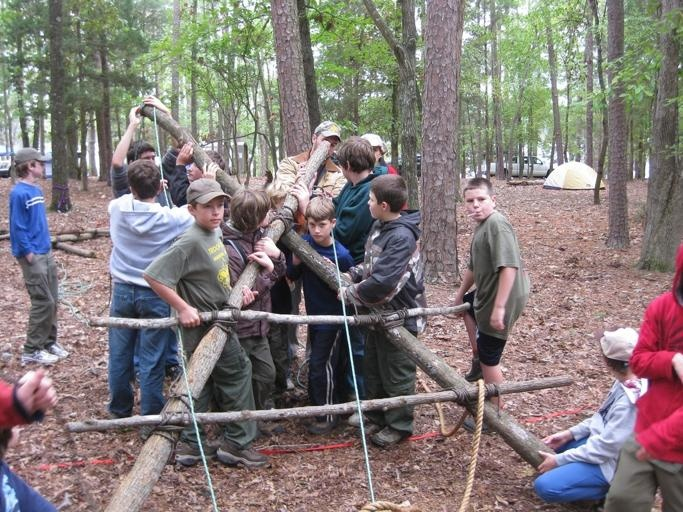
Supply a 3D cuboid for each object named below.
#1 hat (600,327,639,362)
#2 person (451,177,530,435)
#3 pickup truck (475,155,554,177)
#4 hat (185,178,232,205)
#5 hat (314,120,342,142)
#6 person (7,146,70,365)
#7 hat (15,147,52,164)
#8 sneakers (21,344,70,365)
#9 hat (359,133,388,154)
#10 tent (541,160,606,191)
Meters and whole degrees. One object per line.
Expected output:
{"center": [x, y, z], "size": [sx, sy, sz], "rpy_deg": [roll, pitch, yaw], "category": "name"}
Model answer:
{"center": [2.247, 0.722, 5.260], "size": [0.211, 0.148, 0.299], "rpy_deg": [-2, 1, 6], "category": "hat"}
{"center": [1.411, 0.258, 6.190], "size": [0.567, 1.970, 0.486], "rpy_deg": [7, 10, 40], "category": "person"}
{"center": [8.536, -4.388, 31.765], "size": [2.783, 1.107, 10.740], "rpy_deg": [3, 8, 15], "category": "pickup truck"}
{"center": [-1.176, -0.564, 5.725], "size": [0.278, 0.137, 0.217], "rpy_deg": [-3, 7, 25], "category": "hat"}
{"center": [-0.157, -1.394, 7.246], "size": [0.203, 0.153, 0.291], "rpy_deg": [8, 2, -19], "category": "hat"}
{"center": [-3.320, -0.003, 7.177], "size": [0.522, 2.342, 0.520], "rpy_deg": [-3, 8, -27], "category": "person"}
{"center": [-3.399, -1.091, 7.192], "size": [0.212, 0.132, 0.334], "rpy_deg": [8, 7, 43], "category": "hat"}
{"center": [-3.257, 1.107, 7.190], "size": [0.318, 0.110, 0.252], "rpy_deg": [-1, 9, -3], "category": "sneakers"}
{"center": [0.386, -1.286, 7.282], "size": [0.217, 0.114, 0.347], "rpy_deg": [11, -3, 9], "category": "hat"}
{"center": [7.419, -2.577, 21.187], "size": [1.514, 0.895, 1.323], "rpy_deg": [4, 8, 23], "category": "tent"}
